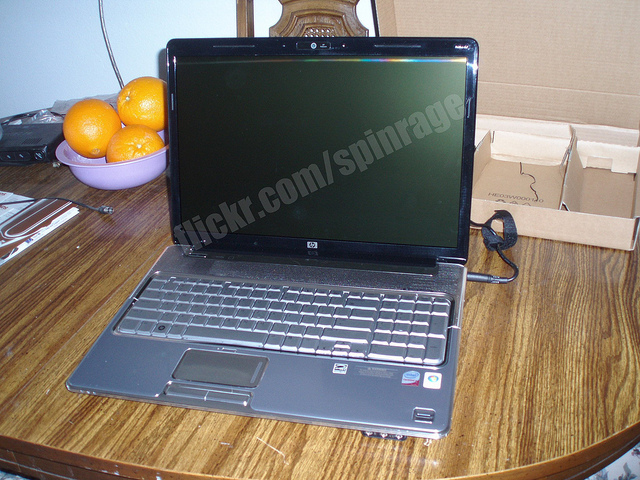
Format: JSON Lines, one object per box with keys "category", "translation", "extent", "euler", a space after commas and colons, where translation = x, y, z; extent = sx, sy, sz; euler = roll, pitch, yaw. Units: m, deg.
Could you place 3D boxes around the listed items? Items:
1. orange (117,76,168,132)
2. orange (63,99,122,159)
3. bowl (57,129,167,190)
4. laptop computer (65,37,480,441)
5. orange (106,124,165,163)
{"category": "orange", "translation": [-0.355, -0.267, 0.993], "extent": [0.090, 0.080, 0.082], "euler": [-21, 65, 6]}
{"category": "orange", "translation": [-0.447, -0.219, 1.022], "extent": [0.099, 0.118, 0.108], "euler": [-21, 28, -15]}
{"category": "bowl", "translation": [-0.423, -0.151, 1.005], "extent": [0.147, 0.054, 0.154], "euler": [0, 38, 0]}
{"category": "laptop computer", "translation": [0.004, 0.077, 0.915], "extent": [0.626, 0.478, 0.564], "euler": [7, 48, 13]}
{"category": "orange", "translation": [-0.362, -0.189, 0.966], "extent": [0.083, 0.083, 0.082], "euler": [-8, 19, -13]}
